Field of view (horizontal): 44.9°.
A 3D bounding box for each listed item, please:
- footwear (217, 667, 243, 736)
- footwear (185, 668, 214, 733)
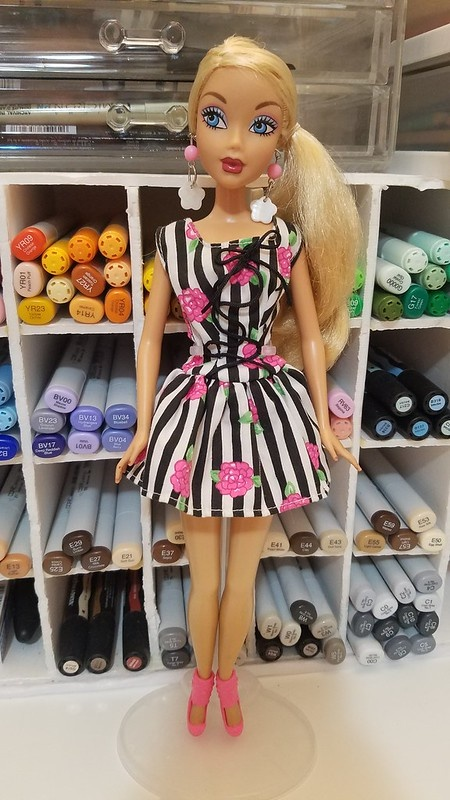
[{"bbox_3d":[0.021,0.624,1.145,0.047,0.159,0.062,-7,18,1],"label":"footwear"},{"bbox_3d":[-0.054,0.619,1.113,0.047,0.159,0.066,3,14,4],"label":"footwear"}]
